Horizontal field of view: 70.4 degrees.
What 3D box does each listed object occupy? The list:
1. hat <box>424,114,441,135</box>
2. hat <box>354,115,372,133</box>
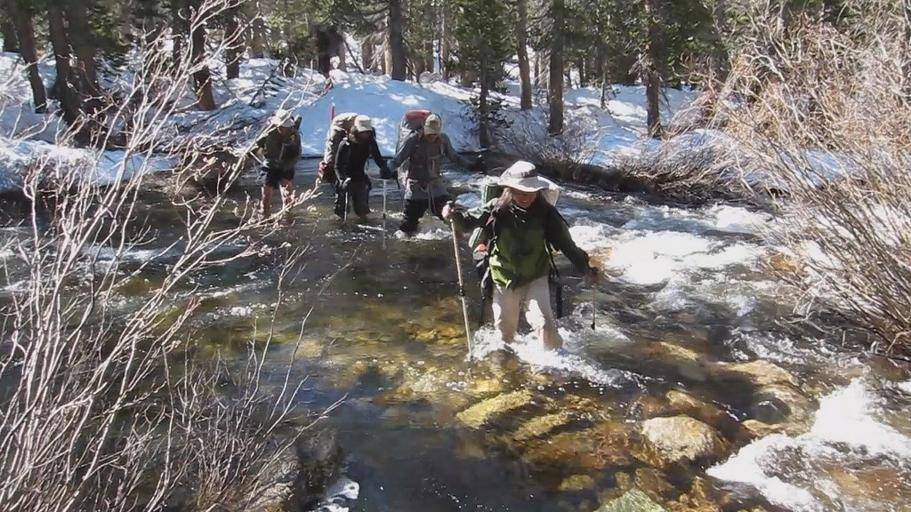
[{"bbox_3d":[-0.521,-2.983,14.682,0.388,0.465,0.404,-1,19,-4],"label":"hat"},{"bbox_3d":[-2.245,-3.150,15.481,0.363,0.333,0.459,-7,4,-34],"label":"hat"}]
